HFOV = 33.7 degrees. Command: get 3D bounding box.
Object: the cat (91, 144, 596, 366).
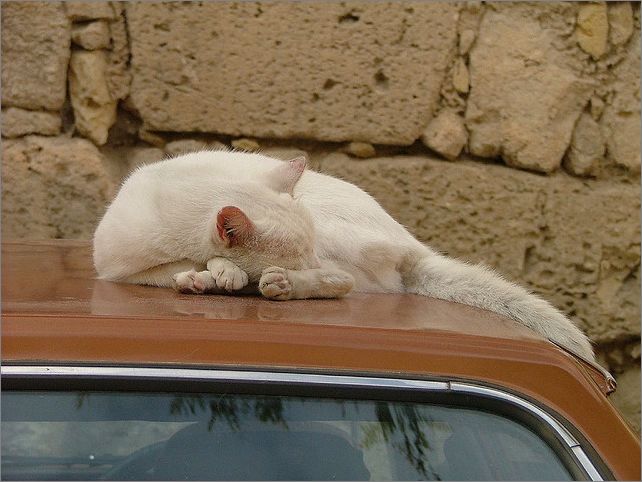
[{"bbox_3d":[-0.004,0.016,4.533,1.626,0.409,1.064,12,10,5],"label":"cat"}]
